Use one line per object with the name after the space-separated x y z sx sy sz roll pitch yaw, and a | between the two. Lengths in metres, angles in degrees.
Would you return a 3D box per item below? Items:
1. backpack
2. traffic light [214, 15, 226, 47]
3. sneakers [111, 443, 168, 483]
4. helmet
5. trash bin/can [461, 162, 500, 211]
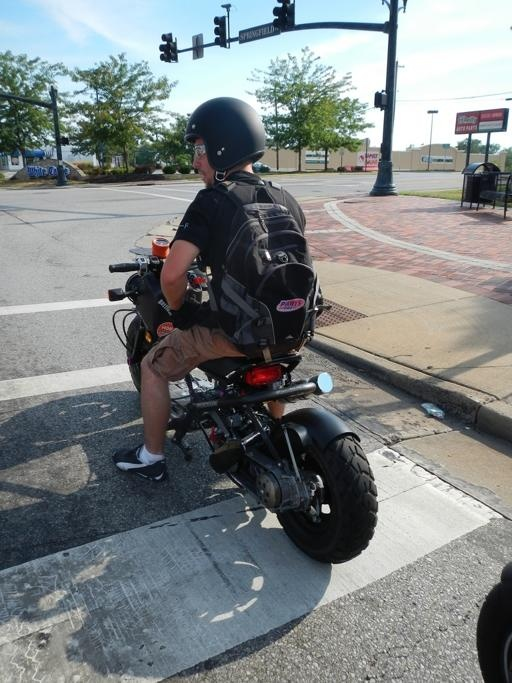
0.021 -0.295 2.091 0.399 0.759 0.380 -7 20 -21 | backpack
-1.439 -12.752 20.217 0.472 0.994 0.466 0 19 -1 | traffic light
-0.653 0.658 2.830 0.399 0.165 0.141 18 26 23 | sneakers
-0.136 -0.982 2.306 0.400 0.313 0.302 7 22 12 | helmet
6.950 -4.945 15.415 1.022 1.380 1.947 8 20 22 | trash bin/can
